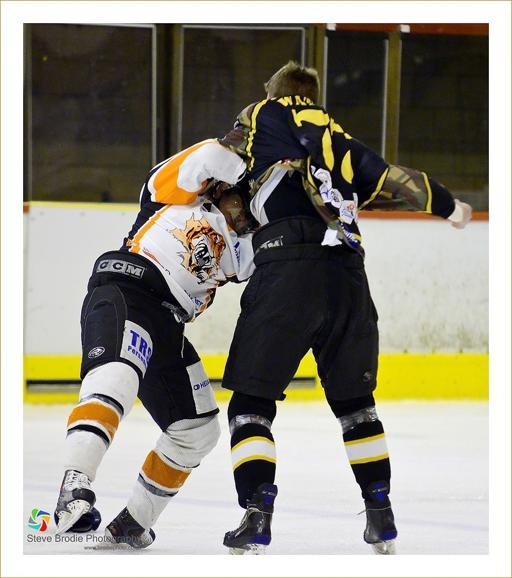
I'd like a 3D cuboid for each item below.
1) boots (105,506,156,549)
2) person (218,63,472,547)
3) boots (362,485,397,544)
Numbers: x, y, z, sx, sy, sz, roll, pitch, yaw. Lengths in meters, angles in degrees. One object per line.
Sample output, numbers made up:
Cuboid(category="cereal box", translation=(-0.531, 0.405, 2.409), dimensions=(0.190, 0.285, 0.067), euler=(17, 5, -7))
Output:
Cuboid(category="boots", translation=(-0.407, 0.779, 2.740), dimensions=(0.196, 0.116, 0.089), euler=(4, 23, 31))
Cuboid(category="person", translation=(0.236, 0.057, 2.550), dimensions=(0.674, 1.567, 0.475), euler=(0, 5, -4))
Cuboid(category="boots", translation=(0.385, 0.713, 2.608), dimensions=(0.111, 0.192, 0.215), euler=(-6, -22, -3))
